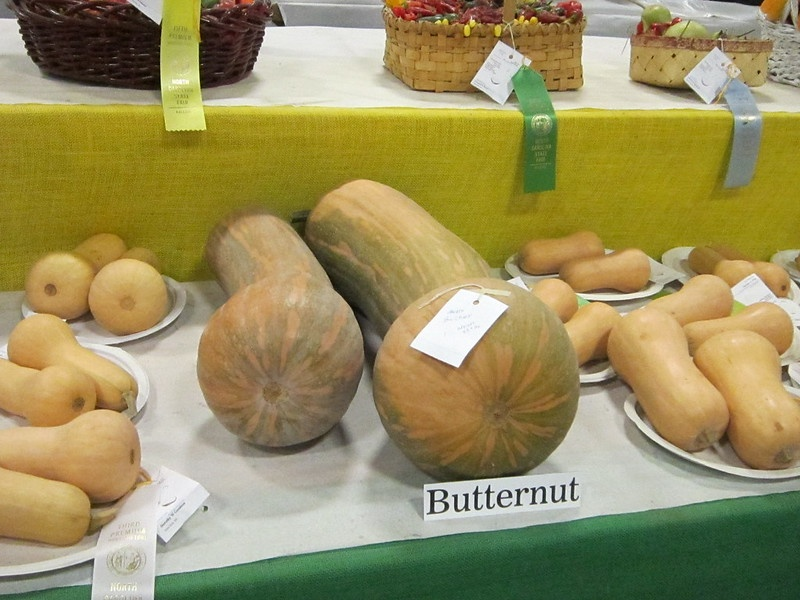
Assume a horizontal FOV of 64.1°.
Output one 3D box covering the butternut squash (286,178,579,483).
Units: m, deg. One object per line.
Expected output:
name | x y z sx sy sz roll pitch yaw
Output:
butternut squash | 0.010 -0.009 1.256 0.312 0.290 0.692 -7 27 -17

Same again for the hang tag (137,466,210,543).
hang tag | -0.367 0.330 1.047 0.089 0.022 0.086 29 44 23

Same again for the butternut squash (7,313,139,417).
butternut squash | -0.683 0.108 1.323 0.377 0.129 0.127 25 51 32

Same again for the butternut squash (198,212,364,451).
butternut squash | -0.270 0.022 1.303 0.247 0.239 0.541 -11 30 -16

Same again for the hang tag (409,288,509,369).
hang tag | 0.094 0.041 1.009 0.103 0.019 0.137 21 56 34

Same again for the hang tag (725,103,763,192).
hang tag | 0.928 -0.427 1.729 0.070 0.212 0.149 1 34 10

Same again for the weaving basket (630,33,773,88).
weaving basket | 0.812 -0.693 1.815 0.227 0.093 0.250 -4 21 -14

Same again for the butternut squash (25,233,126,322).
butternut squash | -0.749 -0.055 1.551 0.140 0.120 0.239 35 52 21

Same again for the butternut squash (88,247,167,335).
butternut squash | -0.604 -0.008 1.417 0.173 0.173 0.170 7 26 9
